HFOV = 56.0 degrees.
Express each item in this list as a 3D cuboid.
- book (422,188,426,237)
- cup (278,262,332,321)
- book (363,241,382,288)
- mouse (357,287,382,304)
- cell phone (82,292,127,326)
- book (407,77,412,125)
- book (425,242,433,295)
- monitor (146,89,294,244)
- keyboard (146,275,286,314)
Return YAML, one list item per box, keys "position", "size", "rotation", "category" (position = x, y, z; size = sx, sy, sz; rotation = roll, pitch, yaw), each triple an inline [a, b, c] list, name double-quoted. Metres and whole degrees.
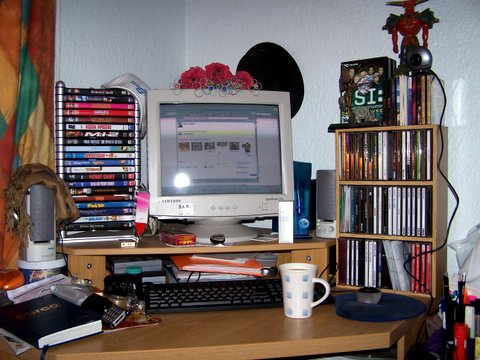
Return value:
- position: [0.633, 0.107, 1.552]
  size: [0.016, 0.199, 0.154]
  rotation: [0, -4, 24]
  category: "book"
- position: [0.184, 0.334, 1.378]
  size: [0.177, 0.166, 0.119]
  rotation: [1, 3, 18]
  category: "cup"
- position: [0.475, 0.310, 1.611]
  size: [0.035, 0.131, 0.130]
  rotation: [-1, 1, 26]
  category: "book"
- position: [0.405, 0.365, 1.421]
  size: [0.054, 0.029, 0.050]
  rotation: [-2, -5, 24]
  category: "mouse"
- position: [-0.387, 0.364, 1.285]
  size: [0.114, 0.023, 0.055]
  rotation: [26, 38, 29]
  category: "cell phone"
- position: [0.603, -0.280, 1.605]
  size: [0.013, 0.167, 0.027]
  rotation: [-1, 4, 34]
  category: "book"
- position: [0.648, 0.302, 1.548]
  size: [0.027, 0.159, 0.016]
  rotation: [-2, 4, 18]
  category: "book"
- position: [-0.070, -0.101, 1.677]
  size: [0.531, 0.483, 0.162]
  rotation: [-3, 3, 2]
  category: "monitor"
- position: [-0.075, 0.365, 1.455]
  size: [0.430, 0.066, 0.189]
  rotation: [-3, 3, -6]
  category: "keyboard"
